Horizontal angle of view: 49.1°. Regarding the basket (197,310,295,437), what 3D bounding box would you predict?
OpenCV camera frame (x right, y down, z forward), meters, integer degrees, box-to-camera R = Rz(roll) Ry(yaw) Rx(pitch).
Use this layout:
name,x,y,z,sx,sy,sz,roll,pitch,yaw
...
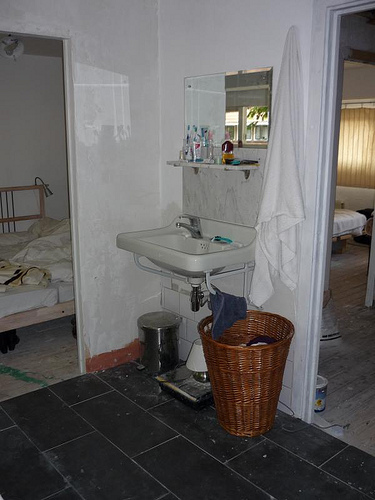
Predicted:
name,x,y,z,sx,sy,sz,roll,pitch,yaw
basket,0.267,0.581,1.934,0.426,0.502,0.464,-1,8,-4

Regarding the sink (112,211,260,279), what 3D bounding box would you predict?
name,x,y,z,sx,sy,sz,roll,pitch,yaw
sink,-0.079,0.008,2.137,0.563,0.219,0.352,17,7,33

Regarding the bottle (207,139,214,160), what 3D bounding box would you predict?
name,x,y,z,sx,sy,sz,roll,pitch,yaw
bottle,0.124,-0.548,2.247,0.026,0.114,0.060,-3,8,-20

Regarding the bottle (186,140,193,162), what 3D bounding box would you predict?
name,x,y,z,sx,sy,sz,roll,pitch,yaw
bottle,0.016,-0.558,2.318,0.022,0.119,0.066,-5,9,-31

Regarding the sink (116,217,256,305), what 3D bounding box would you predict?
name,x,y,z,sx,sy,sz,roll,pitch,yaw
sink,-0.025,0.055,2.203,0.456,0.404,0.688,-7,15,-37

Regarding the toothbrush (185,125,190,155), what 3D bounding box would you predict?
name,x,y,z,sx,sy,sz,roll,pitch,yaw
toothbrush,-0.003,-0.619,2.322,0.013,0.121,0.005,5,5,28

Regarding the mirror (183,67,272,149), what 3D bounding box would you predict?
name,x,y,z,sx,sy,sz,roll,pitch,yaw
mirror,0.199,-0.723,2.178,0.020,0.379,0.624,-12,19,-40

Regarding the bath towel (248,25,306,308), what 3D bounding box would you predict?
name,x,y,z,sx,sy,sz,roll,pitch,yaw
bath towel,0.403,-0.333,1.834,0.201,1.229,0.350,-3,8,-20

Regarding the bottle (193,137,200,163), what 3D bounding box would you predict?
name,x,y,z,sx,sy,sz,roll,pitch,yaw
bottle,0.049,-0.541,2.275,0.036,0.109,0.057,0,8,0
